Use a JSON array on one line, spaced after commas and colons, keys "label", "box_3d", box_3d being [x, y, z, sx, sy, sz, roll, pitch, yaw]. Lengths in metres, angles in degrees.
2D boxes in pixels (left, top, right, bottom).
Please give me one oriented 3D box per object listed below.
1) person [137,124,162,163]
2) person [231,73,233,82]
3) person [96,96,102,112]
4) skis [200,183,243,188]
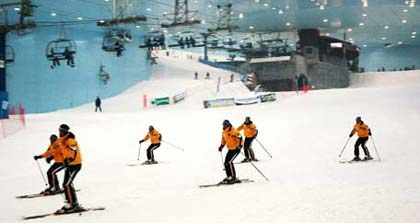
[{"label": "person", "box_3d": [-3.855, 2.114, 26.253, 1.459, 1.911, 1.110, -26, -50, 32]}, {"label": "person", "box_3d": [2.056, -3.299, 39.030, 0.167, 0.697, 0.127, -1, 8, 5]}, {"label": "person", "box_3d": [-10.003, -0.703, 37.195, 0.471, 1.338, 1.349, -4, 8, -15]}, {"label": "skis", "box_3d": [0.530, 3.978, 22.422, 2.171, 0.141, 0.257, -2, 7, -6]}]
